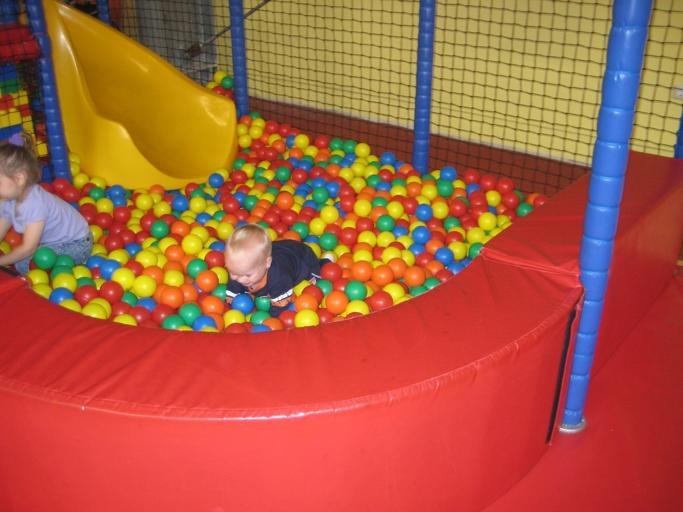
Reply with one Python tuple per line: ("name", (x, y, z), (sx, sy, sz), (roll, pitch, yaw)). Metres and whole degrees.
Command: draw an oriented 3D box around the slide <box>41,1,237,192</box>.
("slide", (-1.412, -0.874, 4.009), (1.461, 0.922, 0.763), (35, -47, 14))
